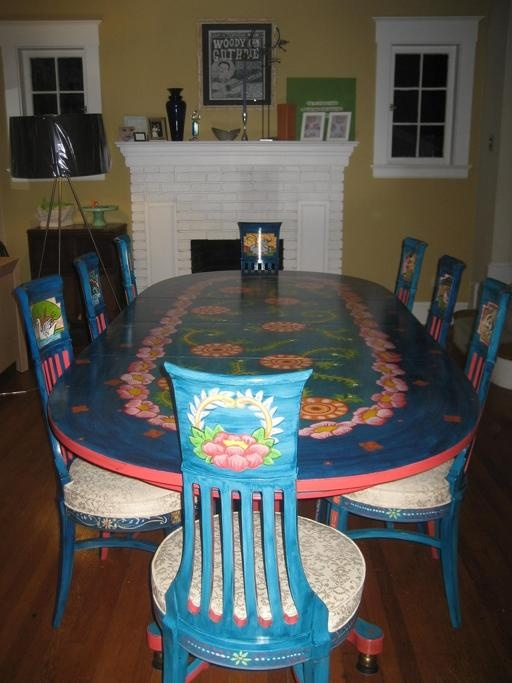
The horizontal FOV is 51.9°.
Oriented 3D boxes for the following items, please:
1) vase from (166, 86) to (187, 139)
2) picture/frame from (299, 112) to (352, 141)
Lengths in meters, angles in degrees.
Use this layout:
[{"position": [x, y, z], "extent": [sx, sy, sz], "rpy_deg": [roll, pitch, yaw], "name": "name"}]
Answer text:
[{"position": [-0.672, -1.880, 4.397], "extent": [0.153, 0.397, 0.209], "rpy_deg": [-2, 12, -9], "name": "vase"}, {"position": [0.591, -1.845, 4.514], "extent": [0.295, 0.180, 0.016], "rpy_deg": [3, -3, 1], "name": "picture/frame"}]
